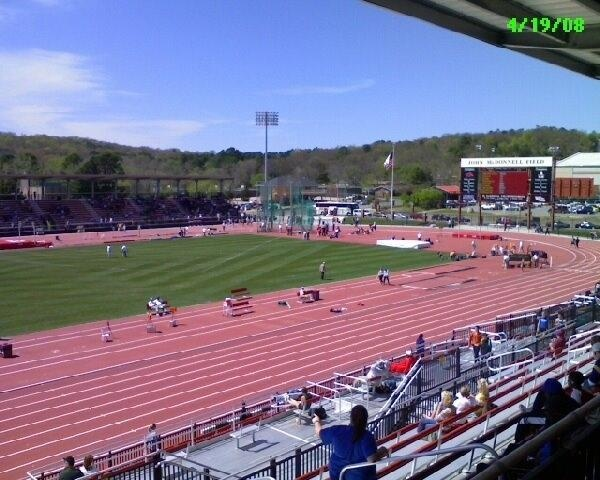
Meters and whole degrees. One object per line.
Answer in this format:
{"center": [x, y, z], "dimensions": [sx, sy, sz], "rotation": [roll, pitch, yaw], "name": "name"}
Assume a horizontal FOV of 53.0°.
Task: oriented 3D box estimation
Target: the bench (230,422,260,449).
{"center": [-1.206, 4.363, 13.374], "dimensions": [0.320, 0.494, 0.776], "rotation": [7, 6, 39], "name": "bench"}
